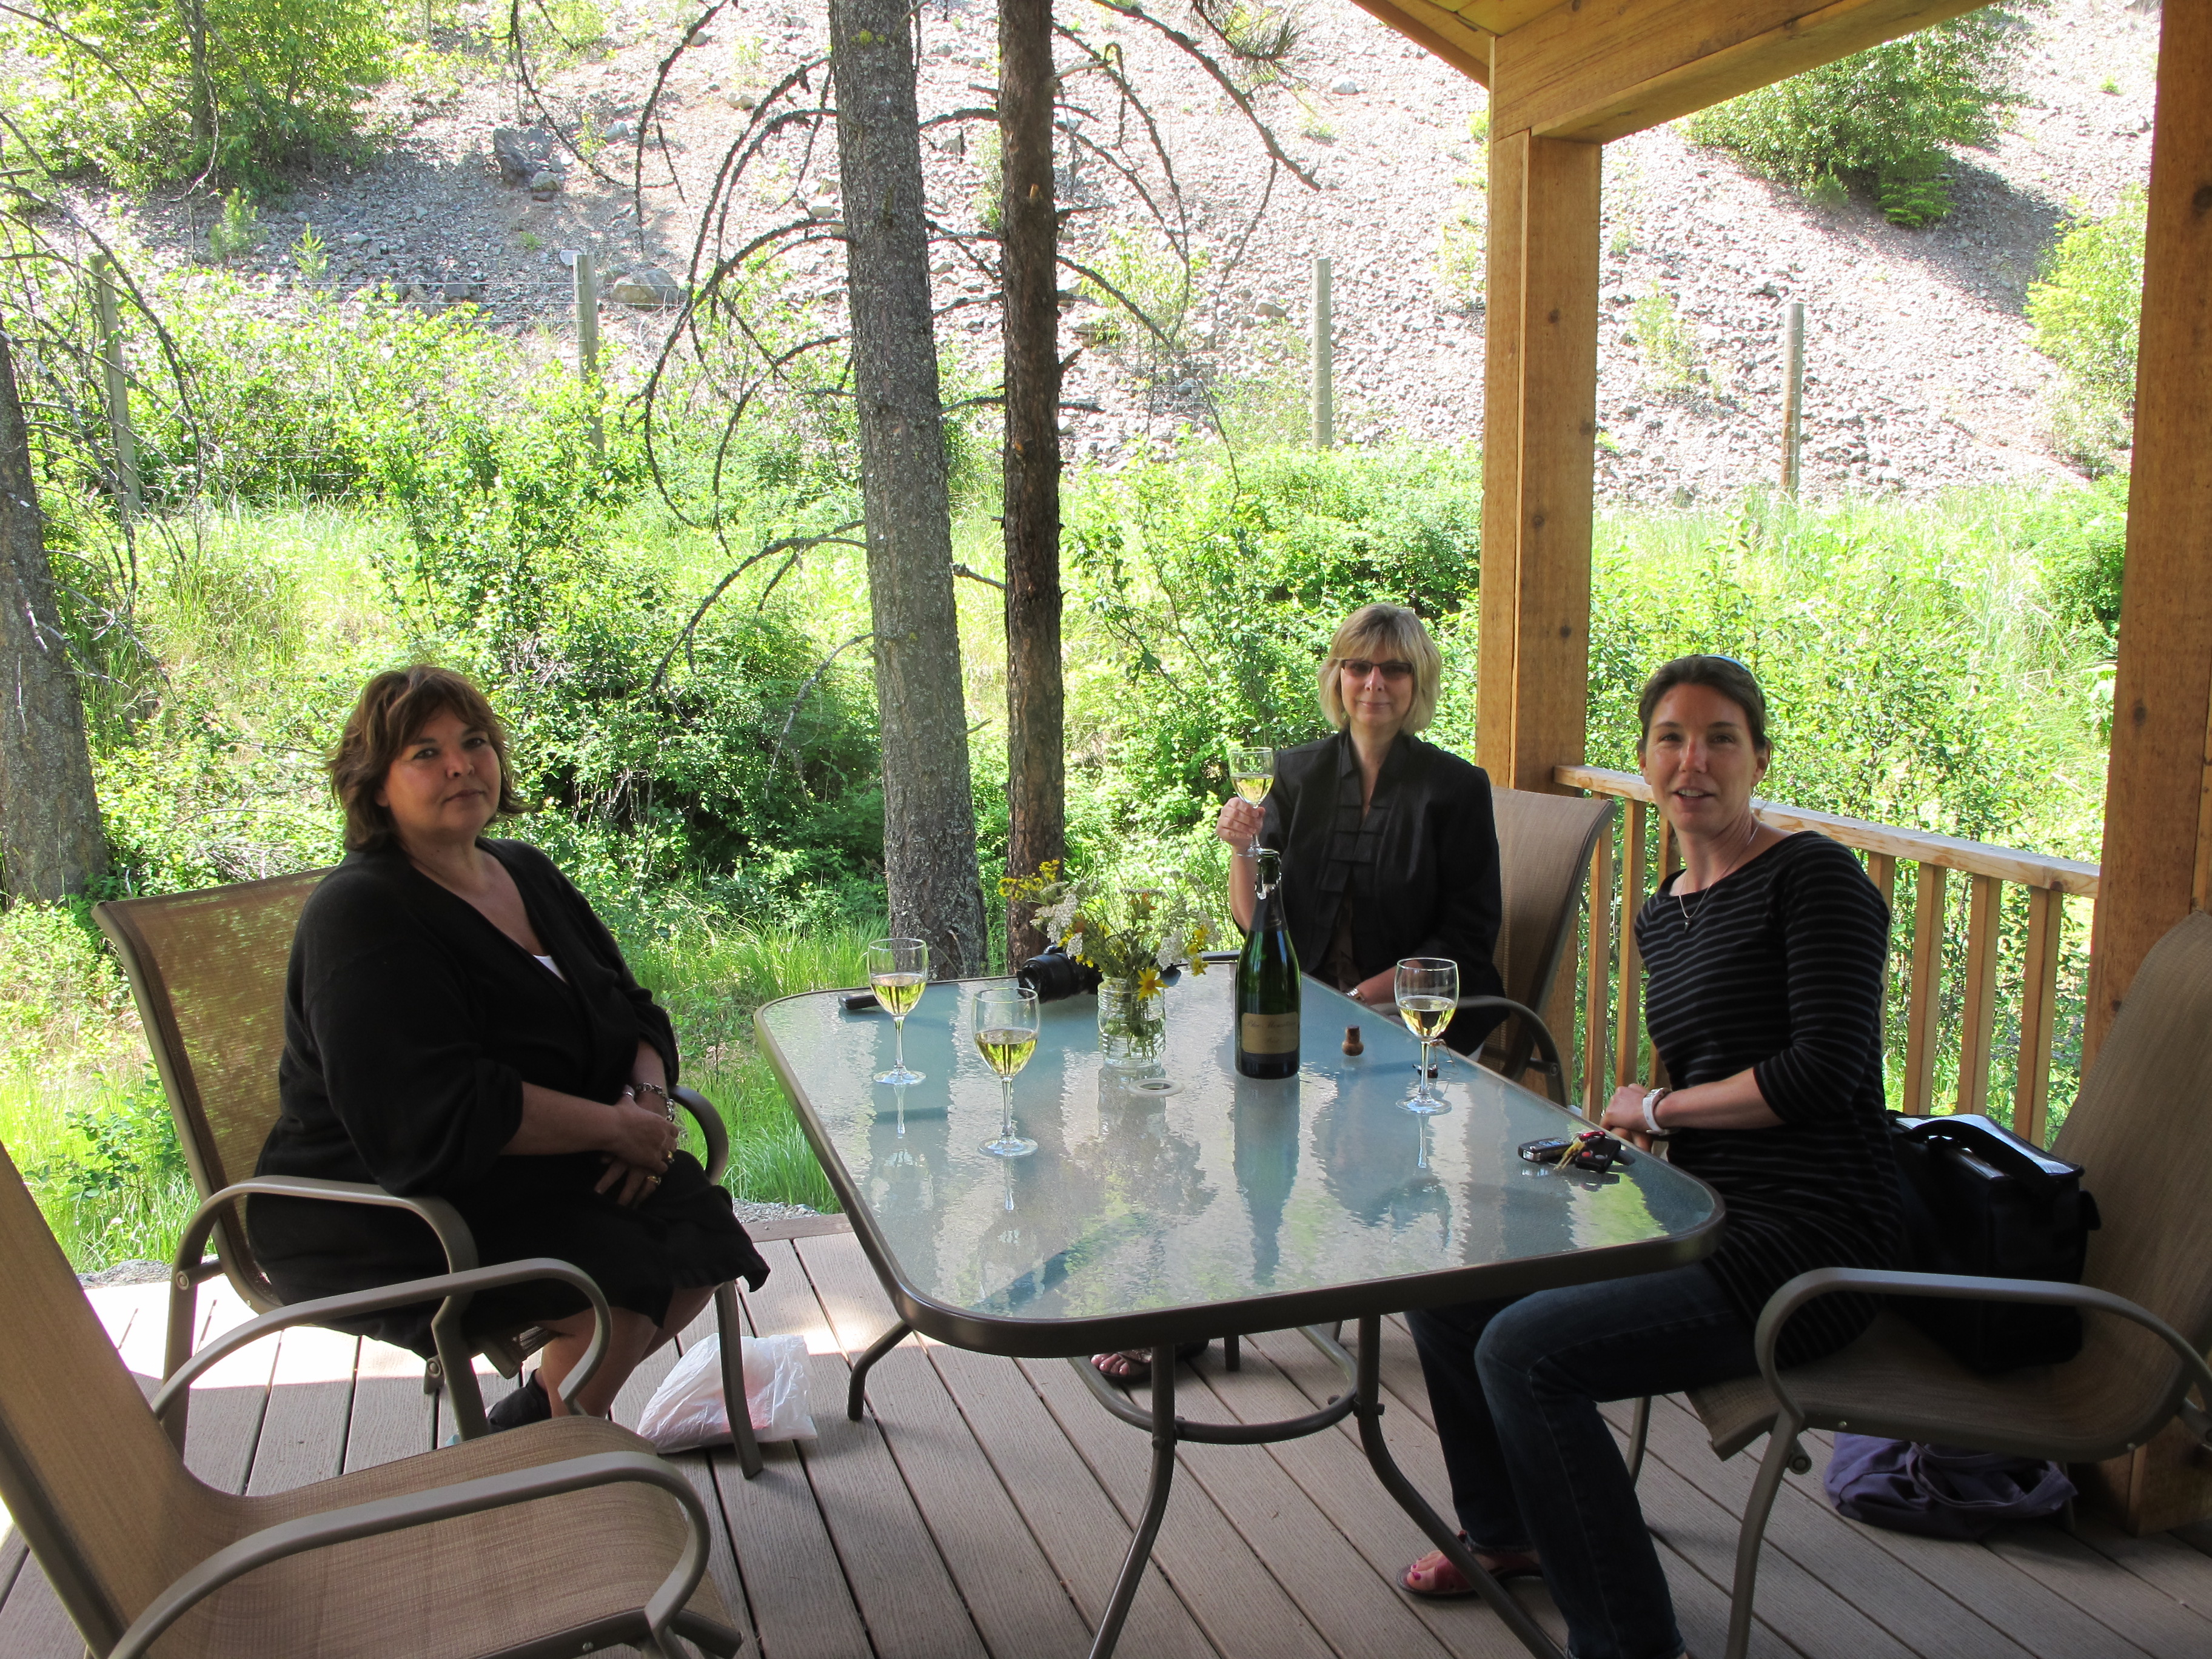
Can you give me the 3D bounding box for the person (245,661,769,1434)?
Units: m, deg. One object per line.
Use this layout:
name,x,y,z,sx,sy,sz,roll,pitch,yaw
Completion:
person,-1.174,0.541,3.452,0.965,1.705,0.788,-2,6,7

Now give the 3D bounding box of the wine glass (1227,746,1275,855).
wine glass,0.356,-0.091,4.117,0.109,0.242,0.419,-2,10,6

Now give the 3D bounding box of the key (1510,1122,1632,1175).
key,0.750,0.513,2.768,0.108,0.045,0.081,0,5,-16

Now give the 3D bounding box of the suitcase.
suitcase,1.503,0.700,3.060,0.189,0.384,0.539,1,2,-3

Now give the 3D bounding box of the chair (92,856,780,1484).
chair,-1.384,0.617,3.414,0.736,1.121,0.796,-8,2,24

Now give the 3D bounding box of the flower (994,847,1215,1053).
flower,0.051,0.298,3.262,0.315,0.346,0.305,-6,-23,17

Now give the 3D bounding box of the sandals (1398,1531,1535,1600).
sandals,0.647,1.345,3.108,0.240,0.108,0.117,0,2,-6

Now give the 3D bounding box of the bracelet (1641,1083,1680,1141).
bracelet,0.990,0.498,3.097,0.034,0.077,0.055,5,37,7
